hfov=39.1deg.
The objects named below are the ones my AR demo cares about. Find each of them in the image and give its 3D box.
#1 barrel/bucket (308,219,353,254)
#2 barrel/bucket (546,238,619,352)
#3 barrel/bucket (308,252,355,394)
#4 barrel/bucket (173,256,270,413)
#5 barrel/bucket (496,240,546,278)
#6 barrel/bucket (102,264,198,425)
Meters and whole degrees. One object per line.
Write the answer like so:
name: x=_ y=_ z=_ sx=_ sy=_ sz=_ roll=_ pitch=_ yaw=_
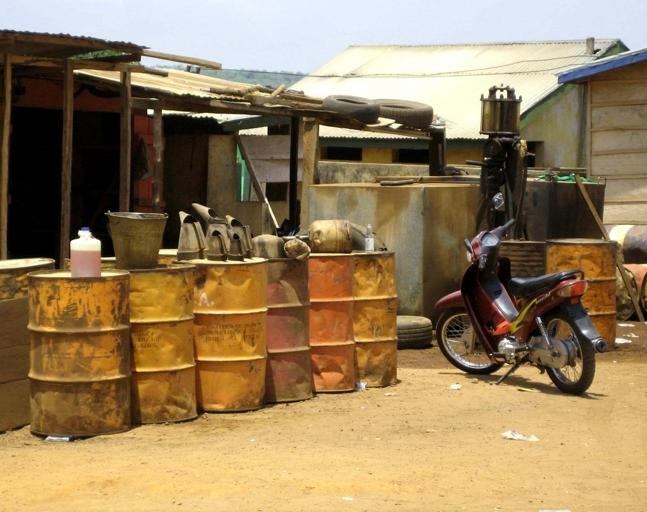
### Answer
barrel/bucket: x=0.097 y=-0.169 z=9.098 sx=0.317 sy=0.249 sz=0.334 roll=0 pitch=-4 yaw=0
barrel/bucket: x=3.218 y=0.511 z=11.351 sx=0.807 sy=1.398 sz=0.804 roll=1 pitch=7 yaw=0
barrel/bucket: x=-0.086 y=0.669 z=9.266 sx=0.788 sy=1.352 sz=0.830 roll=0 pitch=2 yaw=0
barrel/bucket: x=-0.830 y=0.805 z=8.631 sx=1.055 sy=1.721 sz=1.120 roll=0 pitch=-4 yaw=0
barrel/bucket: x=2.601 y=0.036 z=12.002 sx=0.638 sy=0.545 sz=0.571 roll=2 pitch=5 yaw=22
barrel/bucket: x=-1.483 y=0.736 z=7.879 sx=0.614 sy=1.234 sz=0.613 roll=7 pitch=7 yaw=-1
